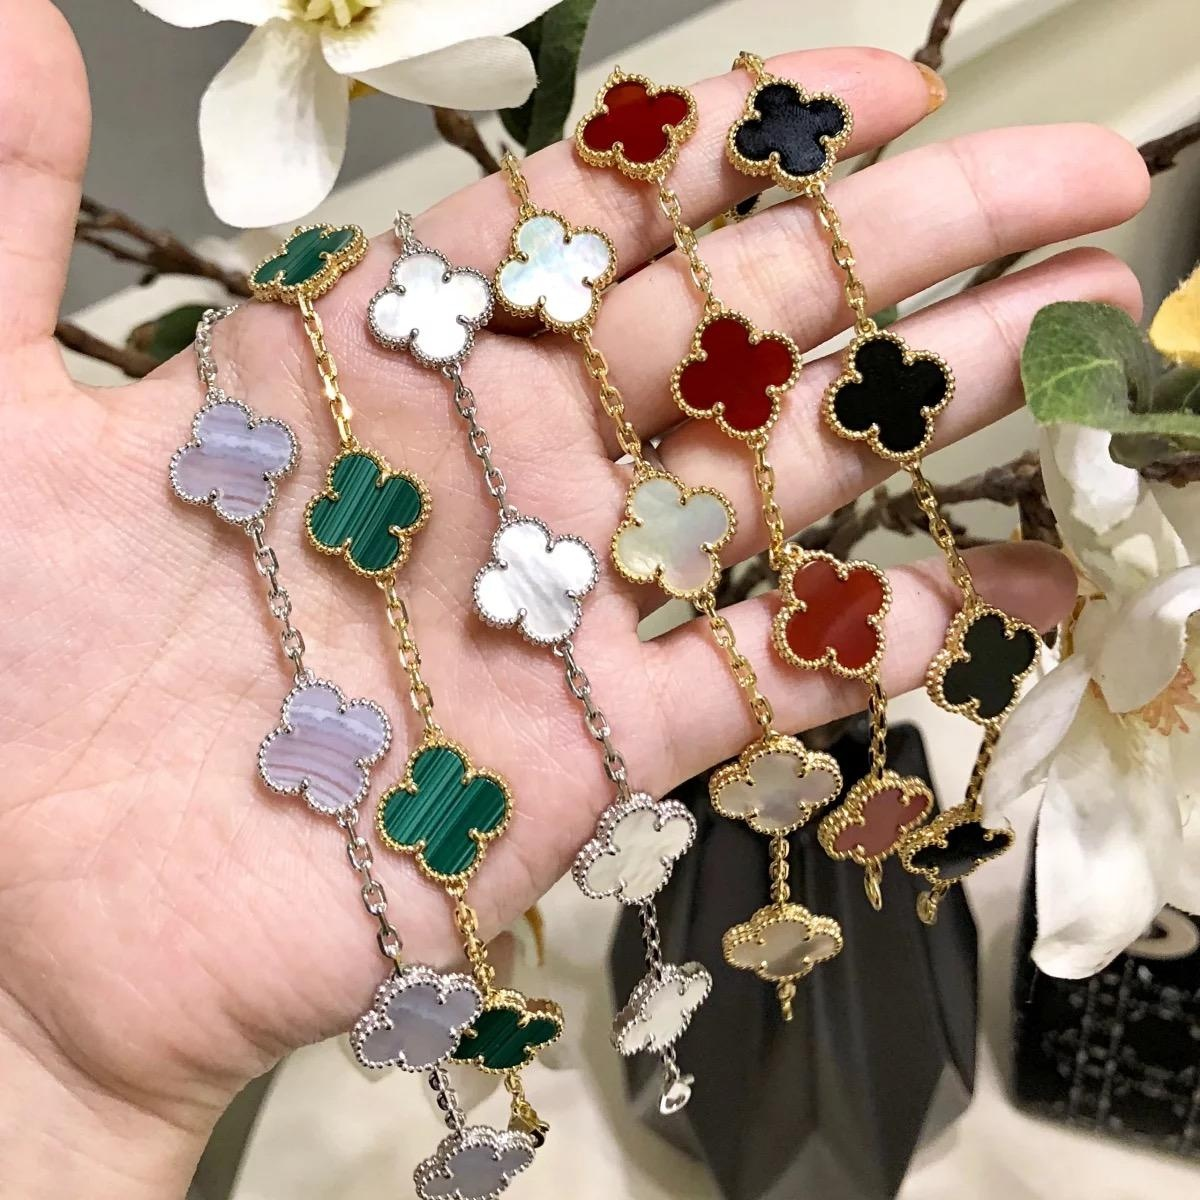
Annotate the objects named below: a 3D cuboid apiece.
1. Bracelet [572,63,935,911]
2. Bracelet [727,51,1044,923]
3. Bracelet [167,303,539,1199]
[{"bbox_3d":[0.169,-0.128,1.285,0.331,0.037,0.786,-13,93,10],"label":"Bracelet"},{"bbox_3d":[0.308,-0.083,1.372,0.214,0.077,0.900,-21,94,8],"label":"Bracelet"},{"bbox_3d":[-0.285,0.124,1.356,0.217,0.054,1.031,-22,84,-11],"label":"Bracelet"}]
